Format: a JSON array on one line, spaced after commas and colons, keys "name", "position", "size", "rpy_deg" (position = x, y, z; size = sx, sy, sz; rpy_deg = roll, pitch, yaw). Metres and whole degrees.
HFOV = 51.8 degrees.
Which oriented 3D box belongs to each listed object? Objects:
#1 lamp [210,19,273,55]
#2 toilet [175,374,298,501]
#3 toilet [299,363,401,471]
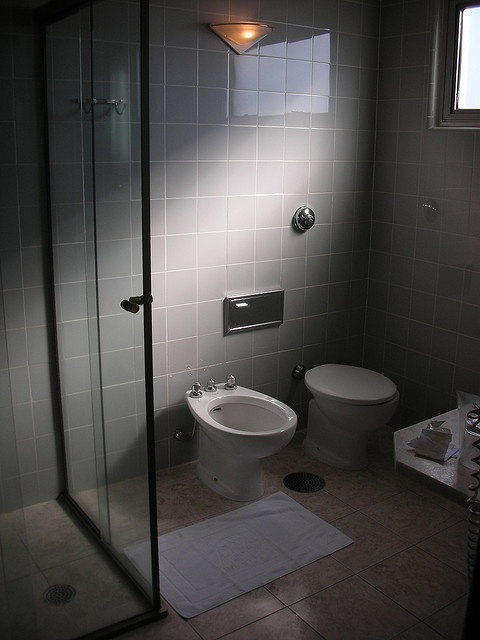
[{"name": "lamp", "position": [0.010, -1.366, 2.396], "size": [0.313, 0.107, 0.203], "rpy_deg": [-4, 14, -18]}, {"name": "toilet", "position": [-0.021, 0.639, 2.548], "size": [0.374, 0.519, 0.556], "rpy_deg": [-12, 22, -42]}, {"name": "toilet", "position": [0.621, 0.575, 2.872], "size": [0.520, 0.535, 0.403], "rpy_deg": [19, 27, 41]}]
